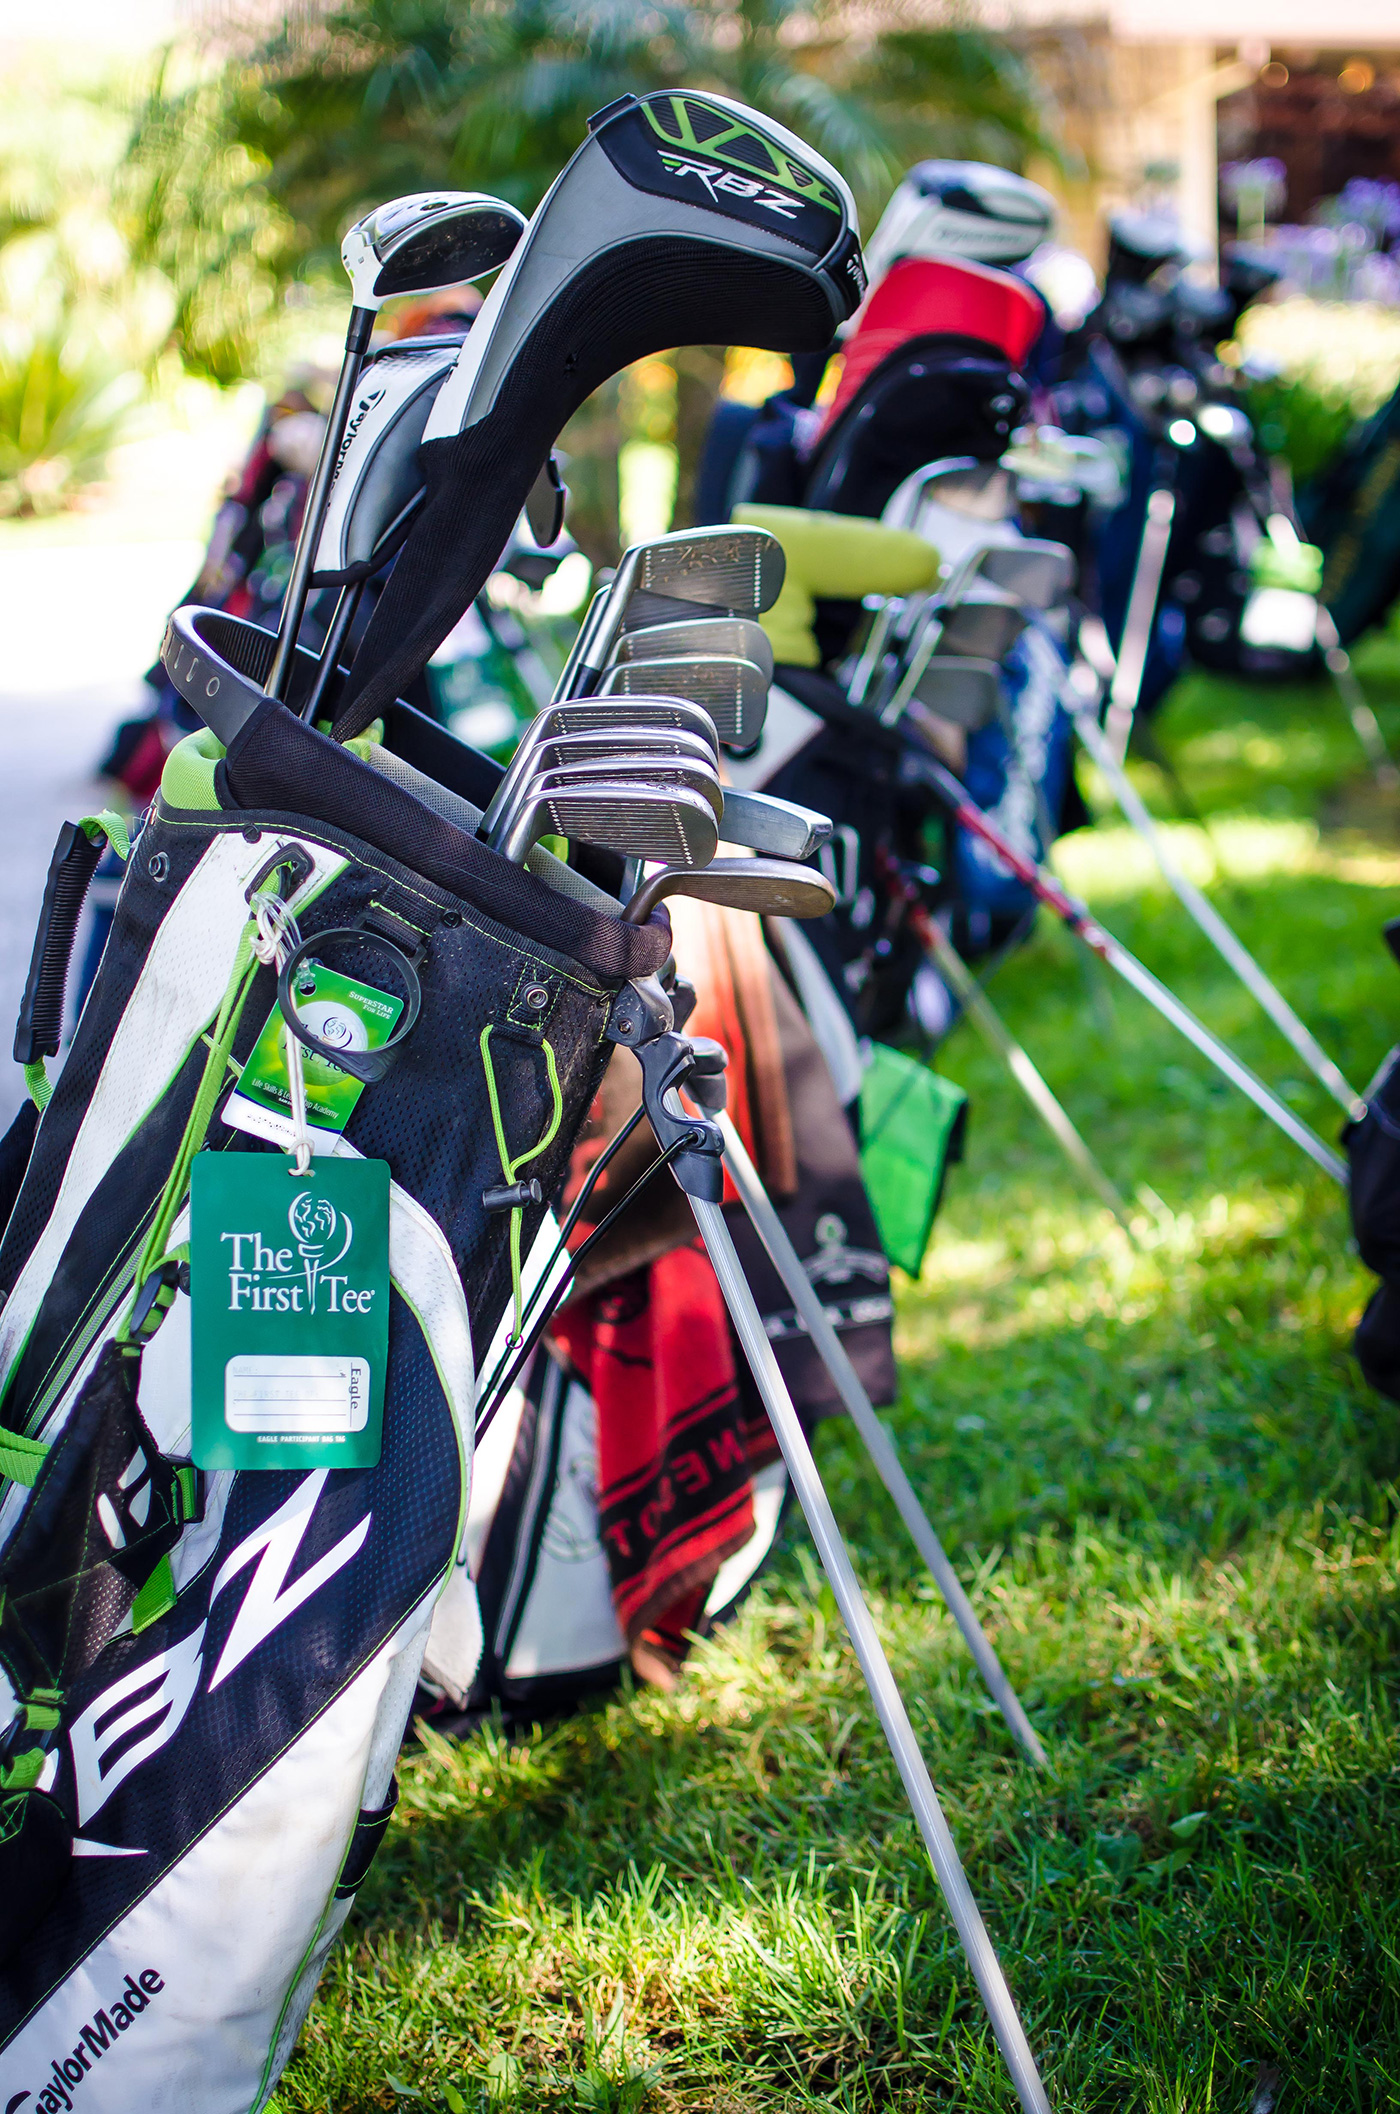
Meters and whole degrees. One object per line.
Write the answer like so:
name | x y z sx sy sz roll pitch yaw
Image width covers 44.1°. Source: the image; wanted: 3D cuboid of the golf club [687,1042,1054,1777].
golf club | 0.286 0.521 1.810 0.165 1.415 0.108 -2 36 28

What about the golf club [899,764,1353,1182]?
golf club | 0.978 -0.165 3.964 0.143 0.146 1.996 -1 38 -23
